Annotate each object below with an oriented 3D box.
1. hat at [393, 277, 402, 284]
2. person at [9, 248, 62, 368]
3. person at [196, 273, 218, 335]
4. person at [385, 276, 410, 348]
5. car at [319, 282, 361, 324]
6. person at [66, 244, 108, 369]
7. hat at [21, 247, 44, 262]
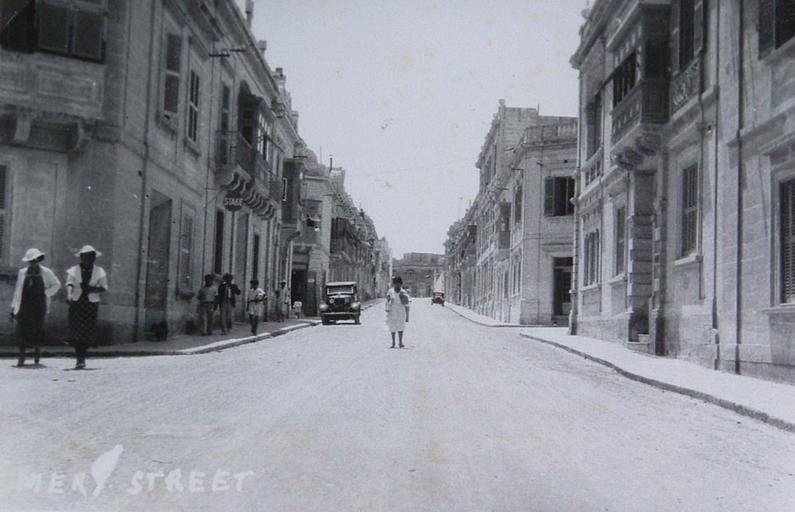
[{"bbox_3d":[-0.081,0.786,23.272,0.360,0.229,0.525,0,-11,2],"label":"hat"},{"bbox_3d":[-7.919,1.116,15.511,0.834,2.583,0.733,2,-8,-29],"label":"person"},{"bbox_3d":[-6.894,1.748,25.613,0.669,2.264,1.440,0,-8,-16],"label":"person"},{"bbox_3d":[-0.065,1.746,21.858,0.646,2.147,1.292,-2,-8,0],"label":"person"},{"bbox_3d":[-3.355,2.419,40.365,2.161,2.163,4.023,-1,6,-1],"label":"car"},{"bbox_3d":[-6.809,1.087,15.576,0.714,2.736,0.801,4,-10,-39],"label":"person"},{"bbox_3d":[-8.486,-0.035,16.504,0.323,0.179,0.305,-16,0,42],"label":"hat"}]
